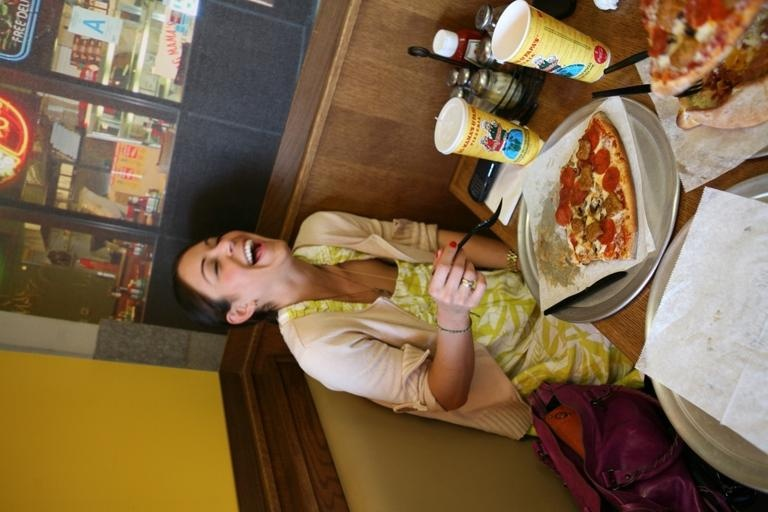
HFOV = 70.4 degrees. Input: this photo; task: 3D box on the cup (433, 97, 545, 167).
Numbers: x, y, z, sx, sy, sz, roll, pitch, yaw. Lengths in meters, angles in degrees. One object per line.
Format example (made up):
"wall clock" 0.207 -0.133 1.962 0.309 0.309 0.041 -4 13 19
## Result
"cup" 0.315 -0.338 1.566 0.252 0.138 0.140 15 50 -13
